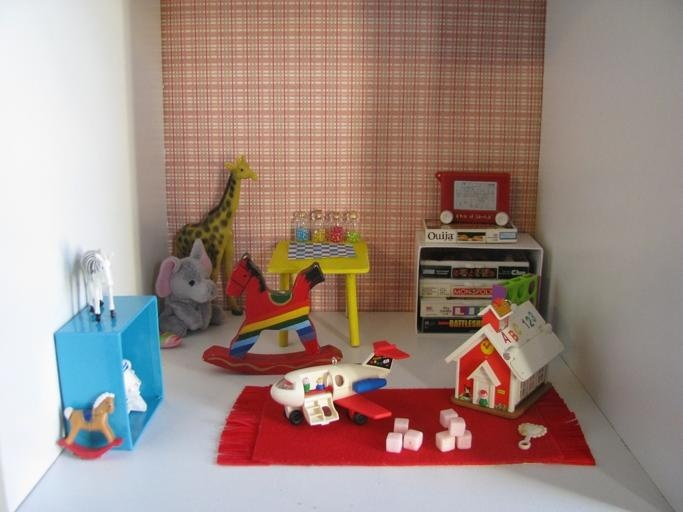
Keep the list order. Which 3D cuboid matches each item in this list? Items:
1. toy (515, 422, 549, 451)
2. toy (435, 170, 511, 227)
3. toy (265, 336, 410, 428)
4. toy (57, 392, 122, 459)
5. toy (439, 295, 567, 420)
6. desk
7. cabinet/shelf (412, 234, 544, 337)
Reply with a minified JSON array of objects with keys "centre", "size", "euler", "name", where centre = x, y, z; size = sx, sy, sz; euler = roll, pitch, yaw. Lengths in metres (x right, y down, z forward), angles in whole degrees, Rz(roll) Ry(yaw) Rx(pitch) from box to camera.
[{"centre":[0.950,0.893,2.833],"size":[0.251,0.038,0.126],"euler":[-16,23,-38],"name":"toy"},{"centre":[0.960,-0.413,4.052],"size":[0.376,0.317,0.091],"euler":[0,0,2],"name":"toy"},{"centre":[-0.019,0.603,2.901],"size":[0.469,0.245,0.533],"euler":[-2,11,-22],"name":"toy"},{"centre":[-1.228,0.812,2.705],"size":[0.283,0.319,0.109],"euler":[2,0,-2],"name":"toy"},{"centre":[0.923,0.481,3.216],"size":[0.548,0.727,0.627],"euler":[8,13,40],"name":"toy"},{"centre":[-0.131,0.180,4.049],"size":[0.663,0.579,0.731],"euler":[0,10,2],"name":"desk"},{"centre":[1.000,0.166,4.184],"size":[0.790,0.668,0.690],"euler":[0,18,12],"name":"cabinet/shelf"}]
